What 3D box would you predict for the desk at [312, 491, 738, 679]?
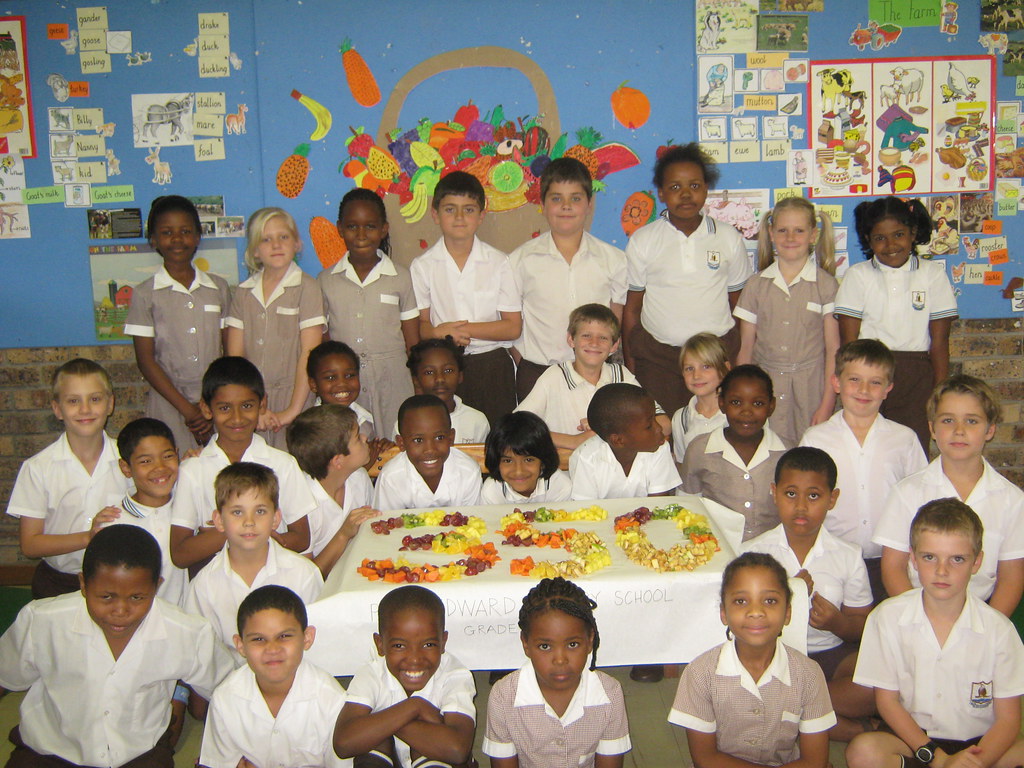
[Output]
[{"bbox_3d":[0.106,0.807,4.051,1.680,0.509,0.614,0,10,-3],"label":"desk"}]
